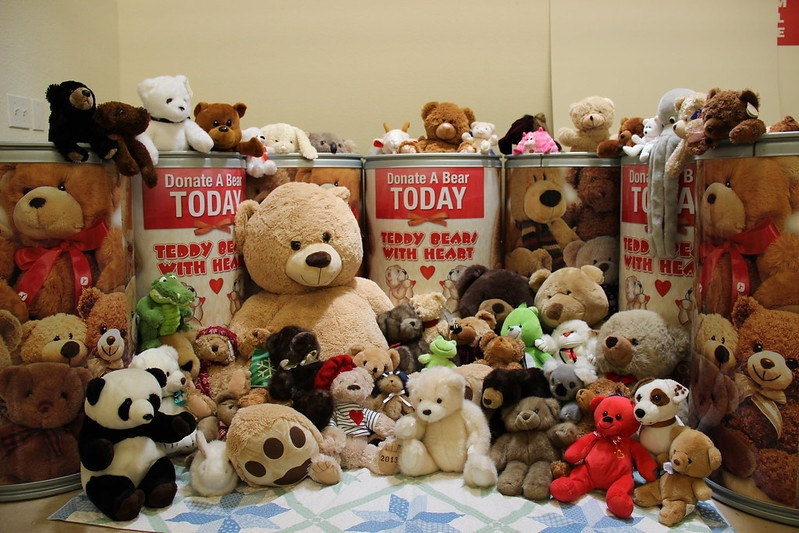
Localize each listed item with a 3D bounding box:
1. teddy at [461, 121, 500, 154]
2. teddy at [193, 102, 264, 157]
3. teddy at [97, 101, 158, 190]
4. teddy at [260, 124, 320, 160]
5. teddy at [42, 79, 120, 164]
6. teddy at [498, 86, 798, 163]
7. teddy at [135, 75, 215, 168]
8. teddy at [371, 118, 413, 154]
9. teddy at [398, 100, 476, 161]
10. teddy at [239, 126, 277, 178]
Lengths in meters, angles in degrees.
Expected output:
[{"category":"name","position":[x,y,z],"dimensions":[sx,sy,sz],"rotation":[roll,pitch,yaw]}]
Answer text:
[{"category":"teddy","position":[0.406,-0.656,3.222],"dimensions":[0.201,0.165,0.192],"rotation":[-2,8,-3]},{"category":"teddy","position":[-0.852,-0.651,2.988],"dimensions":[0.391,0.260,0.220],"rotation":[-1,4,-25]},{"category":"teddy","position":[-1.121,-0.505,2.586],"dimensions":[0.210,0.345,0.220],"rotation":[1,10,13]},{"category":"teddy","position":[-0.596,-0.639,3.231],"dimensions":[0.340,0.185,0.197],"rotation":[-1,19,-15]},{"category":"teddy","position":[-1.237,-0.563,2.448],"dimensions":[0.247,0.310,0.125],"rotation":[-3,9,-13]},{"category":"teddy","position":[1.164,-0.526,2.386],"dimensions":[0.454,0.152,0.337],"rotation":[-9,0,37]},{"category":"teddy","position":[-1.046,-0.671,2.863],"dimensions":[0.262,0.376,0.311],"rotation":[24,30,29]},{"category":"teddy","position":[-0.045,-0.688,3.306],"dimensions":[0.168,0.159,0.215],"rotation":[-2,16,1]},{"category":"teddy","position":[0.223,-0.676,3.277],"dimensions":[0.386,0.360,0.238],"rotation":[5,0,2]},{"category":"teddy","position":[-0.693,-0.574,3.097],"dimensions":[0.169,0.234,0.179],"rotation":[-8,25,-38]}]
